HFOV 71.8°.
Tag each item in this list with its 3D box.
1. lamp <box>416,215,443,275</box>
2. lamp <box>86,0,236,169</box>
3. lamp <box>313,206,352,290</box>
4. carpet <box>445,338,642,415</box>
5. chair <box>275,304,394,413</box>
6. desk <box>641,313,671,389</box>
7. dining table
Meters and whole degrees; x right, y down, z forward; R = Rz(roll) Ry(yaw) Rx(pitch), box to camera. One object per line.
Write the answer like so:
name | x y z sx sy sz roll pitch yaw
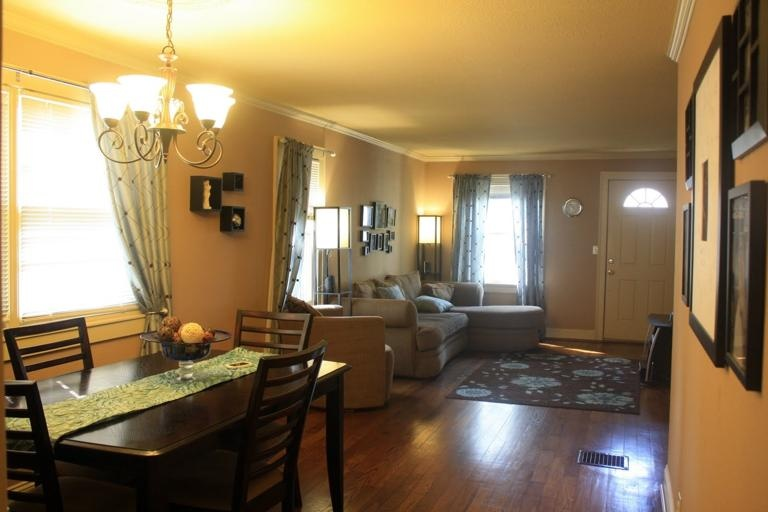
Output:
lamp | 0.788 -0.155 9.300 0.447 1.125 0.327 0 6 3
lamp | -1.583 -1.123 3.603 0.728 1.044 1.731 -3 6 -29
lamp | -0.650 -0.068 6.574 0.446 1.075 0.735 -1 6 -7
carpet | 2.051 1.451 6.419 1.907 0.080 2.643 2 5 24
chair | -0.475 1.013 5.528 1.037 1.113 0.963 -1 0 -4
desk | 3.423 1.128 6.470 0.500 0.611 0.641 9 11 28
dining table | -1.189 0.628 2.633 1.128 0.709 1.160 -1 1 24
